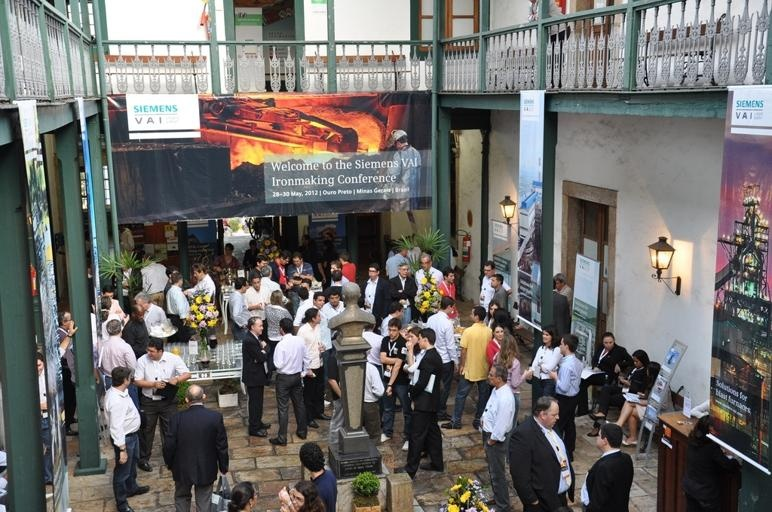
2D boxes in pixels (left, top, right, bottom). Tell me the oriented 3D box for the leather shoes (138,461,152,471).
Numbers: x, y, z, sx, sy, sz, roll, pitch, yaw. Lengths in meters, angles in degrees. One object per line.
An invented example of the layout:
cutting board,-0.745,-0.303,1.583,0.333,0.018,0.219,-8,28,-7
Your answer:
leather shoes,-3.456,3.029,9.013,0.178,0.129,0.175,-11,12,-37

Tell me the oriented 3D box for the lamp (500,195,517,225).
lamp,2.693,-0.993,13.729,0.325,0.672,1.052,-1,10,11
